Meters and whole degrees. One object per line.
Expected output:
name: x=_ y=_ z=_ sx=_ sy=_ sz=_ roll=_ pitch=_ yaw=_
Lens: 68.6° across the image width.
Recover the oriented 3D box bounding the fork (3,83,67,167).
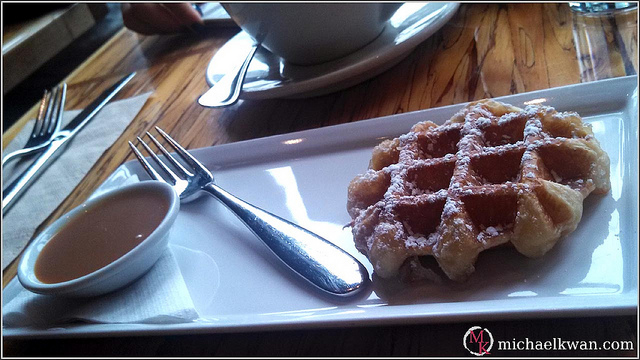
fork: x=-0.876 y=-0.212 z=1.595 sx=0.074 sy=0.063 sz=0.418 roll=2 pitch=45 yaw=24
